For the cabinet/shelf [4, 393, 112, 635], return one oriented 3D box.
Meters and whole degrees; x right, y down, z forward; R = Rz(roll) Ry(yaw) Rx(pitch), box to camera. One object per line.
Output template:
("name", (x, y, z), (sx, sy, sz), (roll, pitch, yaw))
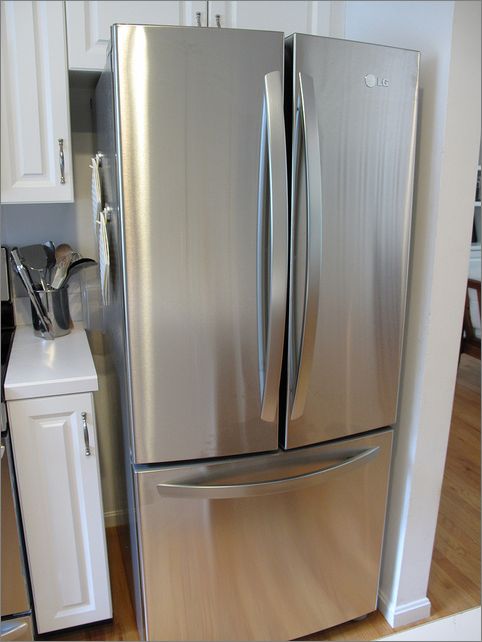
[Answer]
("cabinet/shelf", (-0.545, 0.517, 1.547), (0.275, 0.691, 0.260), (-5, 15, -27))
